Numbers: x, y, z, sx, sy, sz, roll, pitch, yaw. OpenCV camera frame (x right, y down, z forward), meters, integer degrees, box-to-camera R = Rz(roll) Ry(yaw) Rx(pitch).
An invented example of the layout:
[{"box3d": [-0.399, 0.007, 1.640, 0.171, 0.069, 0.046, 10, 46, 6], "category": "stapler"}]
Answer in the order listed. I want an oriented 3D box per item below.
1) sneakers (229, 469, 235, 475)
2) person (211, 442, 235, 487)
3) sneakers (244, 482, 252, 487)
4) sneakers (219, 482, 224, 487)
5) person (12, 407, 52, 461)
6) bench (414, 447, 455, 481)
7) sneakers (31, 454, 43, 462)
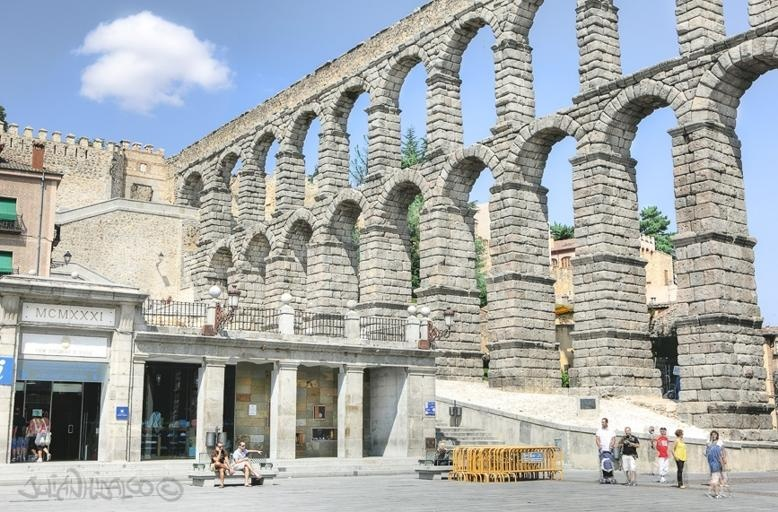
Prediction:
[{"box3d": [-4.995, 6.896, 31.117, 0.193, 0.187, 0.100, -43, -30, 25], "category": "sneakers"}, {"box3d": [-5.314, 6.656, 31.135, 0.682, 1.459, 0.860, 3, -17, -10], "category": "person"}, {"box3d": [-4.469, 7.298, 31.041, 0.207, 0.136, 0.081, -10, -15, 25], "category": "sneakers"}, {"box3d": [-5.268, 7.211, 30.699, 0.141, 0.149, 0.277, 3, -17, -10], "category": "sneakers"}, {"box3d": [-12.821, 6.479, 35.165, 1.324, 1.802, 0.805, 6, -18, -20], "category": "person"}, {"box3d": [1.583, 7.181, 33.714, 1.180, 1.103, 1.748, -1, -16, 3], "category": "bench"}, {"box3d": [-12.488, 7.237, 34.797, 0.266, 0.257, 0.366, 3, -12, -11], "category": "sneakers"}]
